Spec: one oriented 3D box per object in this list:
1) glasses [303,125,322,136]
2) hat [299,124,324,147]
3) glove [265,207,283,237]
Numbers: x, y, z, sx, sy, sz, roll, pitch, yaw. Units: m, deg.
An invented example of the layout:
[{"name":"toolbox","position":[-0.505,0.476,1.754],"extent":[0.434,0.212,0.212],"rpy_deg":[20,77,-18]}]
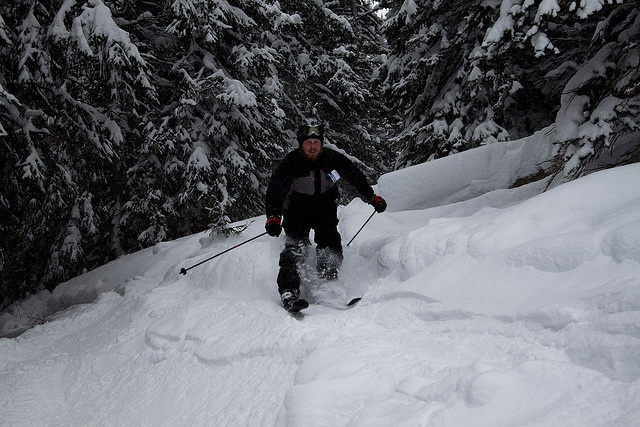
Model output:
[{"name":"glasses","position":[-0.114,-1.168,6.938],"extent":[0.147,0.099,0.199],"rpy_deg":[-2,0,-3]},{"name":"hat","position":[-0.146,-1.142,7.072],"extent":[0.239,0.340,0.265],"rpy_deg":[1,55,-6]},{"name":"glove","position":[-0.646,0.190,6.824],"extent":[0.210,0.288,0.316],"rpy_deg":[-1,25,-9]}]
